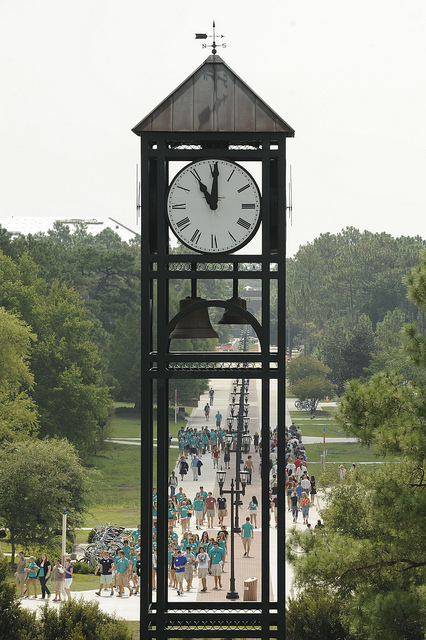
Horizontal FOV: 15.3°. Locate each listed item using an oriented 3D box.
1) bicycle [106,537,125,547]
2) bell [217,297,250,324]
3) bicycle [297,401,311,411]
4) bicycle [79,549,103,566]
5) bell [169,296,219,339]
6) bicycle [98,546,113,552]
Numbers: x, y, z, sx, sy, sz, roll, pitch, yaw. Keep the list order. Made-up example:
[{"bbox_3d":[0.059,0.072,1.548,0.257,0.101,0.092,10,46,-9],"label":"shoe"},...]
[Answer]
[{"bbox_3d":[-2.701,6.233,44.804,0.303,0.198,0.831,4,-11,-28],"label":"bicycle"},{"bbox_3d":[0.337,-0.113,26.099,0.356,0.522,0.411,3,-3,5],"label":"bell"},{"bbox_3d":[4.960,4.874,88.874,0.396,0.629,0.764,-4,3,-45],"label":"bicycle"},{"bbox_3d":[-3.517,6.664,44.596,0.513,0.430,1.026,4,-10,-25],"label":"bicycle"},{"bbox_3d":[-0.310,0.078,25.767,0.503,0.855,0.752,-3,-10,11],"label":"bell"},{"bbox_3d":[-3.001,6.421,44.505,0.269,0.079,0.257,0,-2,-28],"label":"bicycle"}]
